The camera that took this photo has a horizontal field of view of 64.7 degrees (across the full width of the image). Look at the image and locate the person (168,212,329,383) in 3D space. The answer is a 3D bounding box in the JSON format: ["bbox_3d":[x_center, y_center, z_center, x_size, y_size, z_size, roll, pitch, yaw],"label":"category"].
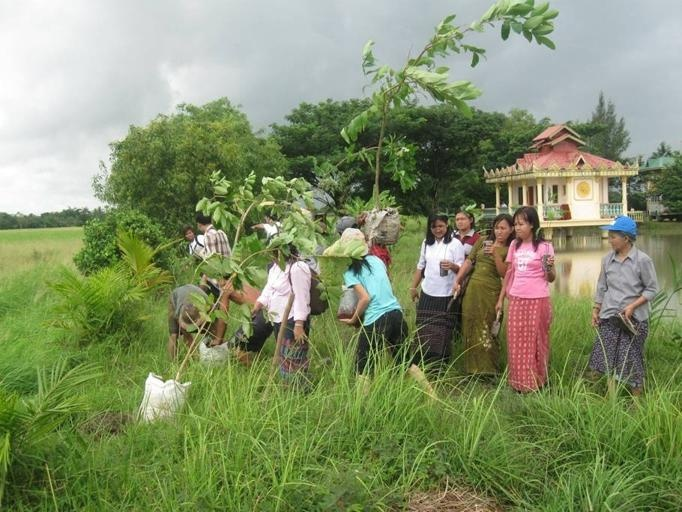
[{"bbox_3d":[-0.880,0.609,6.202,1.313,2.282,0.603,12,22,40],"label":"person"}]

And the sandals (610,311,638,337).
[{"bbox_3d":[3.035,0.719,5.758,0.283,0.244,0.142,1,4,31],"label":"sandals"}]

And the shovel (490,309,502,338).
[{"bbox_3d":[1.816,0.778,6.298,0.088,0.097,0.361,-18,30,43],"label":"shovel"}]

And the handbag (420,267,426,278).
[{"bbox_3d":[1.110,0.227,7.338,0.072,0.114,0.093,7,13,-6],"label":"handbag"}]

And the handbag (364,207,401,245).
[{"bbox_3d":[0.543,-0.405,6.964,0.433,0.520,0.504,-1,13,-5],"label":"handbag"}]

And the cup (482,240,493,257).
[{"bbox_3d":[1.751,-0.095,6.467,0.106,0.168,0.149,4,6,30],"label":"cup"}]

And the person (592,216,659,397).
[{"bbox_3d":[3.064,0.666,5.846,0.641,1.577,0.518,2,4,37],"label":"person"}]
